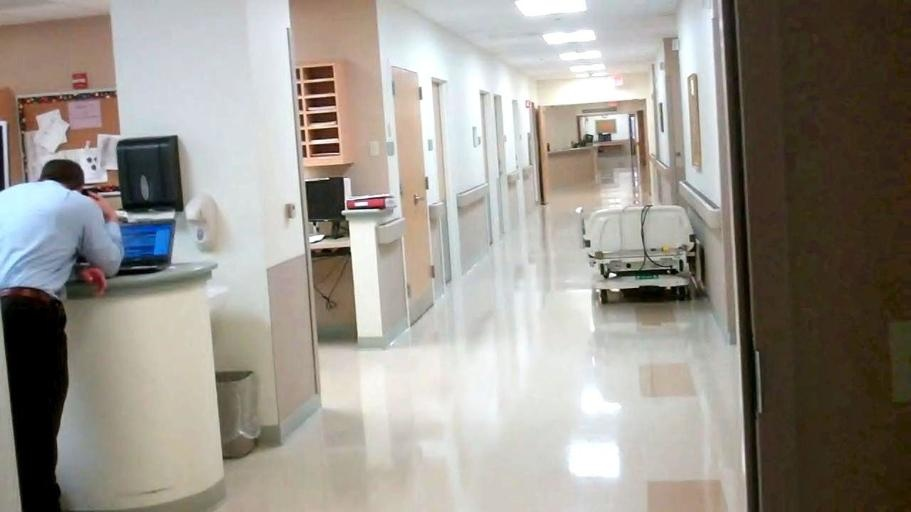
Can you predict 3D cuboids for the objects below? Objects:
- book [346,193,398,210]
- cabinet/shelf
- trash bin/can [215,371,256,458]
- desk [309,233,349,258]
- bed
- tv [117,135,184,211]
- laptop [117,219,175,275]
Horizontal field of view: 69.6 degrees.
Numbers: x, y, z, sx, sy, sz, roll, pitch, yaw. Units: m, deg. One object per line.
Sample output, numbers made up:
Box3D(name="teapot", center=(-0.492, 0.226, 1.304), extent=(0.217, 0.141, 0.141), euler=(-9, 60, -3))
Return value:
Box3D(name="book", center=(-0.837, -0.526, 6.425), extent=(0.472, 0.127, 0.236), euler=(-7, 12, -7))
Box3D(name="cabinet/shelf", center=(-1.322, -1.463, 6.636), extent=(0.381, 1.145, 1.227), euler=(0, 8, 11))
Box3D(name="trash bin/can", center=(-1.528, 1.098, 4.624), extent=(0.309, 0.537, 0.320), euler=(-10, 12, -18))
Box3D(name="desk", center=(-1.257, -0.072, 6.596), extent=(0.391, 0.247, 0.512), euler=(-8, 12, -11))
Box3D(name="bed", center=(2.037, -0.095, 7.331), extent=(1.038, 0.810, 1.376), euler=(-2, 9, 9))
Box3D(name="tv", center=(-2.147, -0.570, 4.609), extent=(0.433, 0.538, 0.147), euler=(-4, 12, 10))
Box3D(name="laptop", center=(-1.984, -0.073, 4.135), extent=(0.365, 0.268, 0.216), euler=(-4, 12, 9))
